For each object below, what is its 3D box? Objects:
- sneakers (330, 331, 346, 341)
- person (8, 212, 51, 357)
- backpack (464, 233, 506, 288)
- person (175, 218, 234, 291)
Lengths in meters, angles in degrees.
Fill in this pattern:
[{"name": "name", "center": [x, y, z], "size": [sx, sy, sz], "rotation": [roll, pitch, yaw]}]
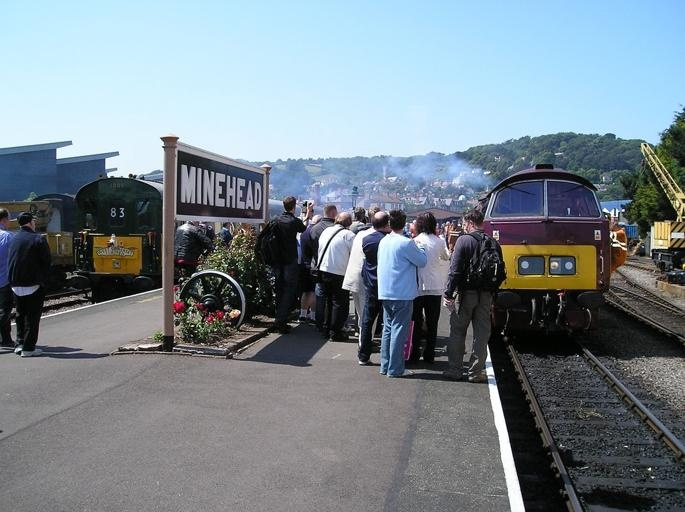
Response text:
[{"name": "sneakers", "center": [-0.081, 1.523, 9.262], "size": [0.330, 0.159, 0.139], "rotation": [-1, 0, 2]}, {"name": "person", "center": [-5.278, 0.431, 8.094], "size": [0.560, 2.315, 1.036], "rotation": [0, 4, -40]}, {"name": "backpack", "center": [2.163, 0.050, 7.140], "size": [0.606, 0.894, 0.494], "rotation": [8, 4, -13]}, {"name": "person", "center": [-3.467, -0.190, 11.178], "size": [0.852, 1.239, 3.871], "rotation": [2, 4, -16]}]
